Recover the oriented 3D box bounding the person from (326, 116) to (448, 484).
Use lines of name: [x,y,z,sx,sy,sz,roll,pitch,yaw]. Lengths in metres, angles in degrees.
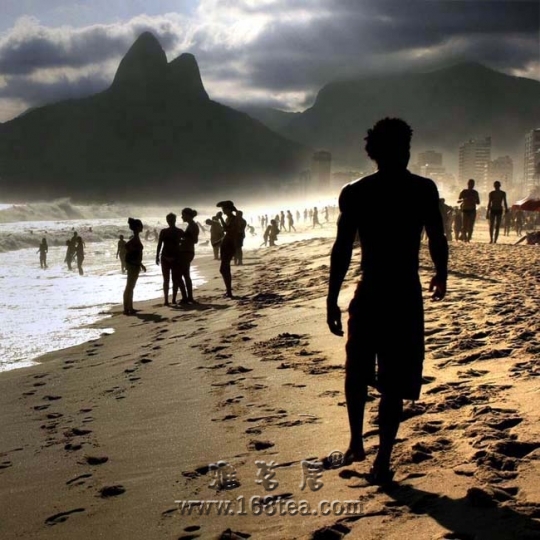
person: [0.644,0.120,3.403,0.790,1.881,0.467,-15,8,-27]
